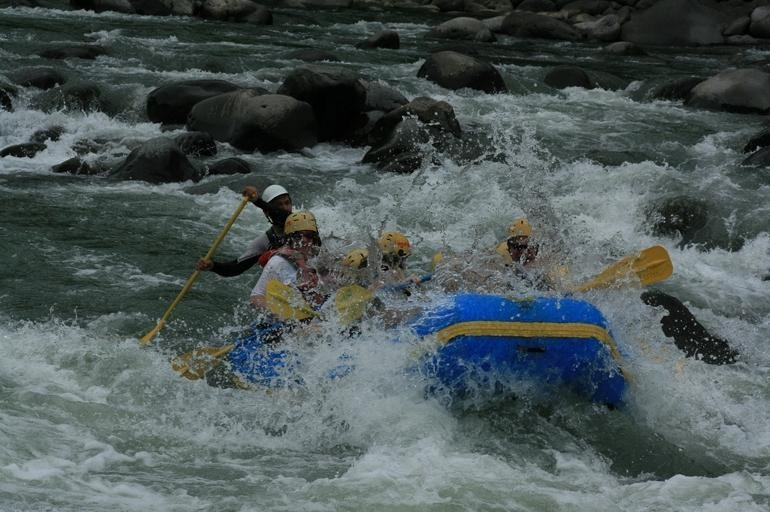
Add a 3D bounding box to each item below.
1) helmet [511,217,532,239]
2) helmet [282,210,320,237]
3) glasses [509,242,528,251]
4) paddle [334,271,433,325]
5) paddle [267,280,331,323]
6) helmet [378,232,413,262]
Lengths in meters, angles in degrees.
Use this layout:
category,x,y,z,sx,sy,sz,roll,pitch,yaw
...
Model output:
category,x,y,z,sx,sy,sz,roll,pitch,yaw
helmet,1.950,-0.388,14.717,0.306,0.315,0.430,7,23,1
helmet,-1.160,-0.468,14.622,0.324,0.309,0.409,-1,4,0
glasses,1.898,-0.153,14.638,0.289,0.116,0.041,18,27,27
paddle,-0.019,0.498,14.105,1.301,0.434,0.099,-15,5,-15
paddle,-1.227,0.651,14.188,1.183,0.555,0.152,26,-22,-35
helmet,0.139,-0.154,14.626,0.481,0.333,0.326,-3,16,-14
